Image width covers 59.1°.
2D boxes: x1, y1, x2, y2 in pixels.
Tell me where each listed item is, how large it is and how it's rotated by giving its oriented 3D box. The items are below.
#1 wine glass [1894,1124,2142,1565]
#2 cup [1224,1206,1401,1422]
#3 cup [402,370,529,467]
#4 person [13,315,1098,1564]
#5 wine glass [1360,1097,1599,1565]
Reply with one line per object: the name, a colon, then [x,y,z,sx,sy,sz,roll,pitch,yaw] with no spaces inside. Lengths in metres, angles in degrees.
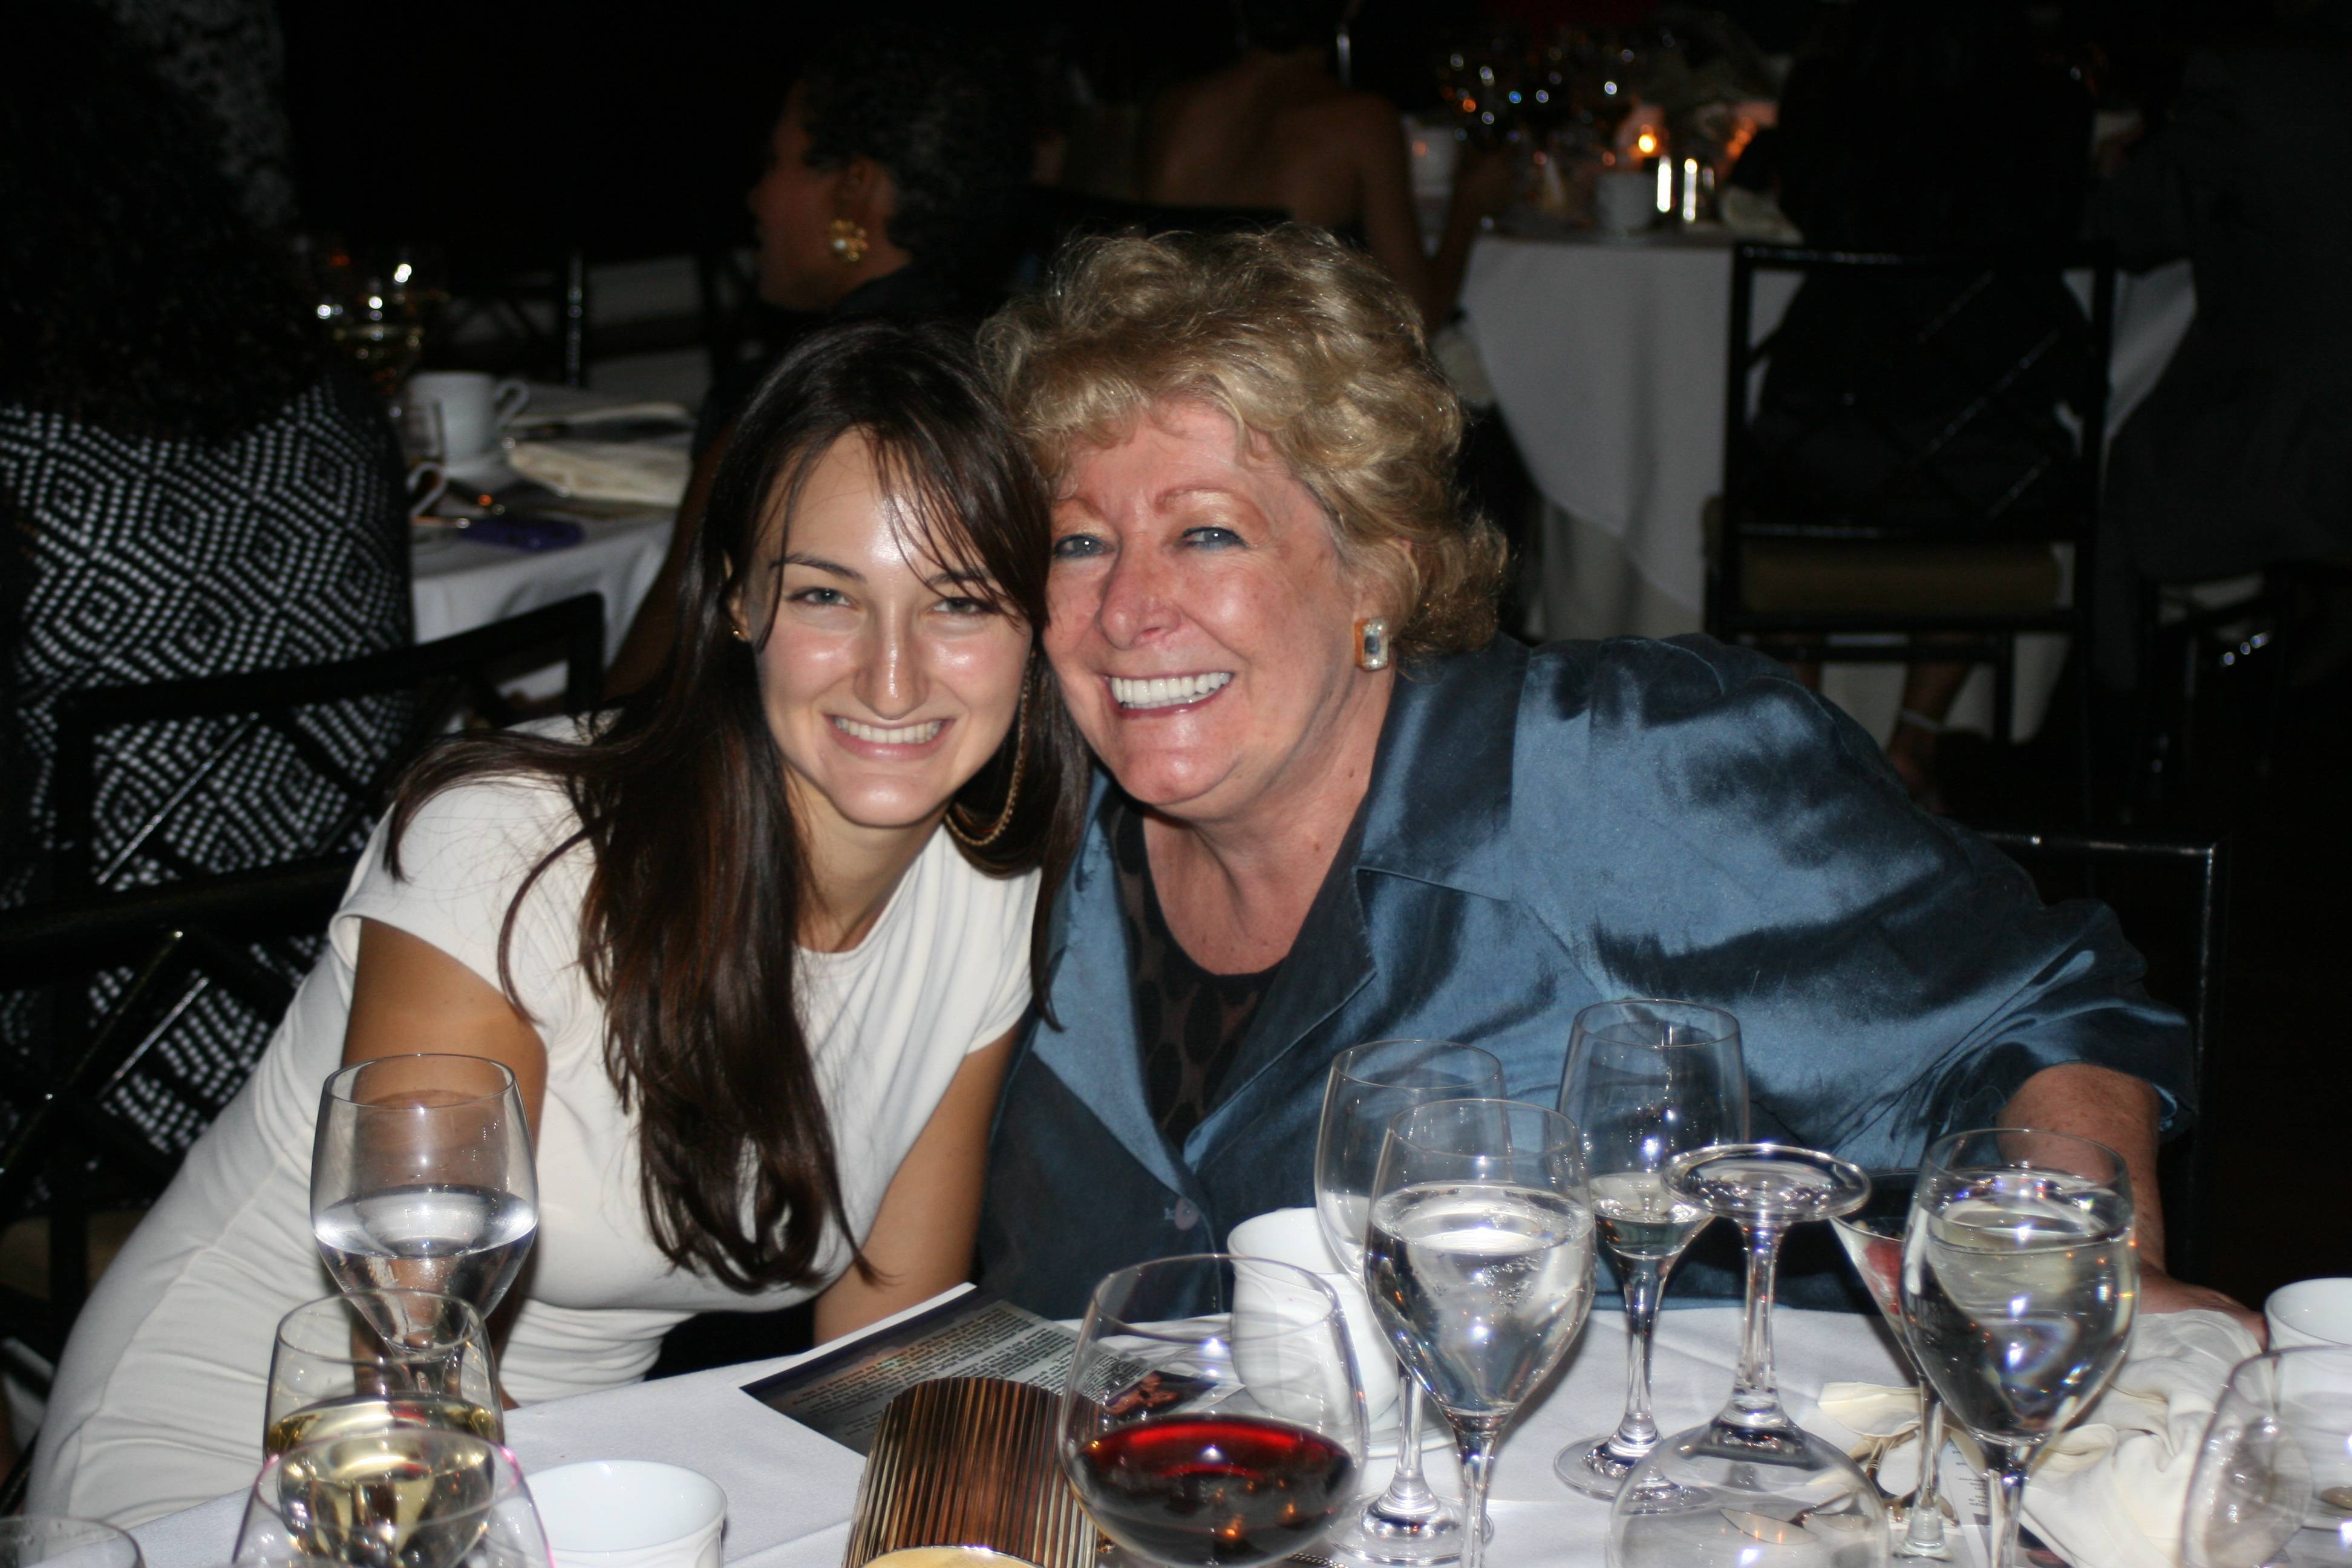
wine glass: [0.688,0.450,1.676,0.232,0.308,0.168,-6,12,-28]
cup: [0.140,0.486,1.986,0.172,0.188,0.160,-1,5,0]
cup: [-1.513,-0.772,4.384,0.318,0.240,0.242,1,7,-15]
person: [-0.680,0.117,2.495,1.168,1.294,0.416,-4,11,-18]
wine glass: [0.254,0.469,1.775,0.186,0.374,0.260,-1,10,0]
